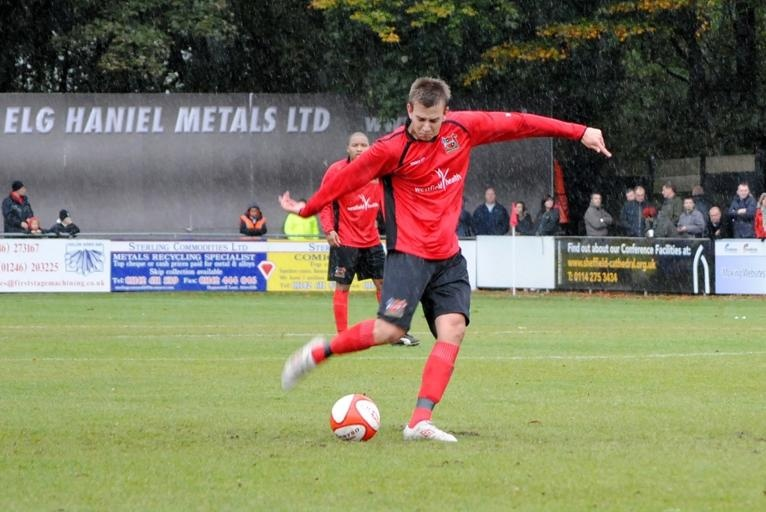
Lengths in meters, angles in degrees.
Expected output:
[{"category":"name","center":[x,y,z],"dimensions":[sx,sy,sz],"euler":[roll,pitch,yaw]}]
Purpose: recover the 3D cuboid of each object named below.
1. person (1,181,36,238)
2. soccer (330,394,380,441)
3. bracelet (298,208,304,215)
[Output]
[{"category":"person","center":[-10.124,-1.206,40.857],"dimensions":[1.142,1.938,0.874],"euler":[1,0,-22]},{"category":"soccer","center":[-0.513,2.991,26.096],"dimensions":[0.770,0.785,0.781],"euler":[5,30,4]},{"category":"bracelet","center":[-1.476,-0.788,26.055],"dimensions":[0.111,0.132,0.049],"euler":[4,-4,-29]}]
